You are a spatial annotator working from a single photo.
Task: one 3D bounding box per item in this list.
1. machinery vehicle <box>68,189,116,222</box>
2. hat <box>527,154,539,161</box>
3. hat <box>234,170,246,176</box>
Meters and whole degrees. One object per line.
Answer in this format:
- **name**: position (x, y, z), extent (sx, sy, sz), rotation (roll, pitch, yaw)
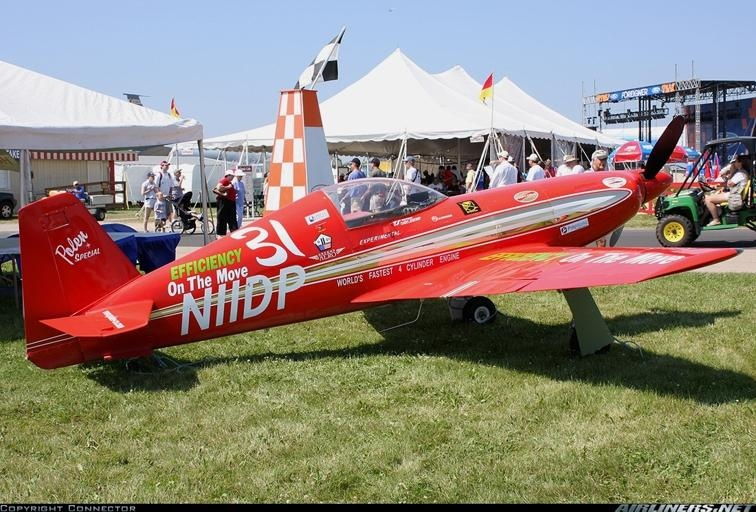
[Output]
- **machinery vehicle**: position (-9.890, -1.715, 26.056), extent (1.494, 0.852, 0.795), rotation (-1, 7, -35)
- **hat**: position (3.107, -2.003, 15.636), extent (0.226, 0.116, 0.166), rotation (15, 18, 31)
- **hat**: position (-3.292, -1.964, 18.189), extent (0.314, 0.100, 0.310), rotation (1, 2, 0)
